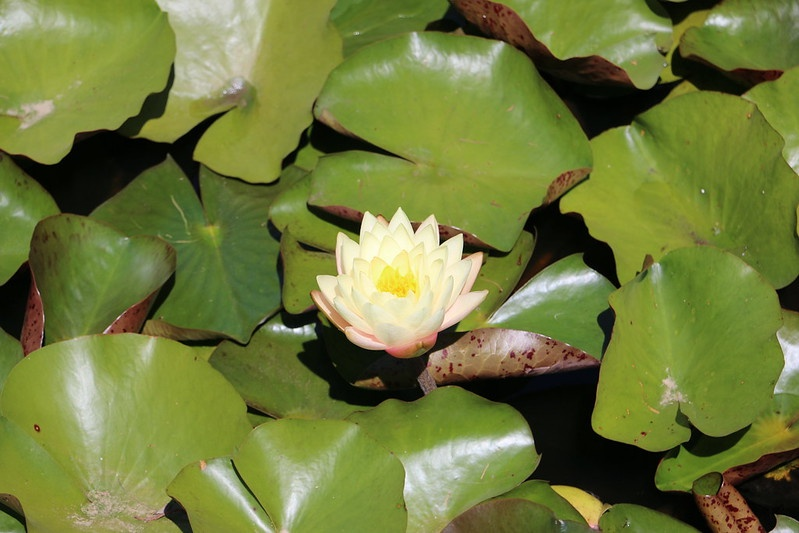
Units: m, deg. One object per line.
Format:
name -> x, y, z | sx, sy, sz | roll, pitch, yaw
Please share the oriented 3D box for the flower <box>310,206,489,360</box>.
flower -> 0.016, 0.046, 2.948 | 0.457, 0.258, 0.644 | -3, 31, -4
